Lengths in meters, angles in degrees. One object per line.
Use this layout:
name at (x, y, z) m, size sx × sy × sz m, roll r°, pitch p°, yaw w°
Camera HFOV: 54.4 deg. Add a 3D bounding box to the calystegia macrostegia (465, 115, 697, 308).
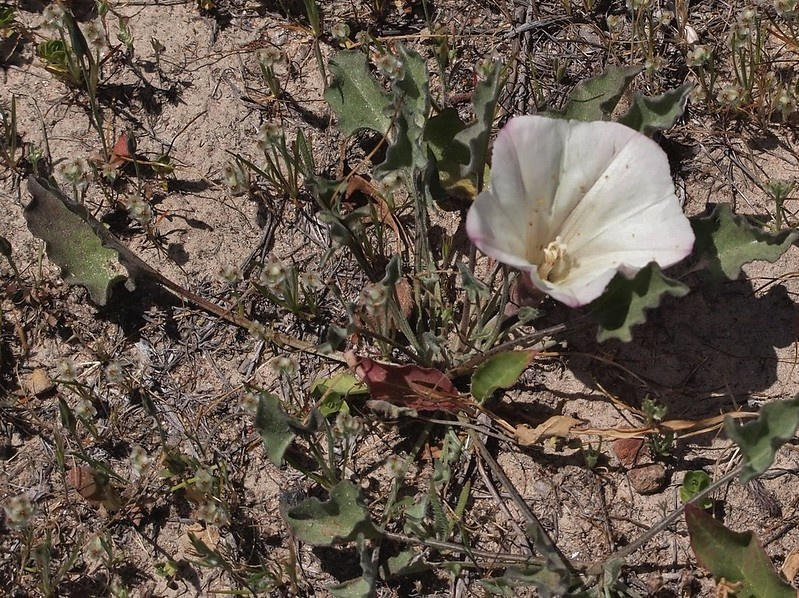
calystegia macrostegia at (0.660, -0.299, 3.144) m, size 0.765 × 0.419 × 0.748 m, roll 31°, pitch 75°, yaw 5°
